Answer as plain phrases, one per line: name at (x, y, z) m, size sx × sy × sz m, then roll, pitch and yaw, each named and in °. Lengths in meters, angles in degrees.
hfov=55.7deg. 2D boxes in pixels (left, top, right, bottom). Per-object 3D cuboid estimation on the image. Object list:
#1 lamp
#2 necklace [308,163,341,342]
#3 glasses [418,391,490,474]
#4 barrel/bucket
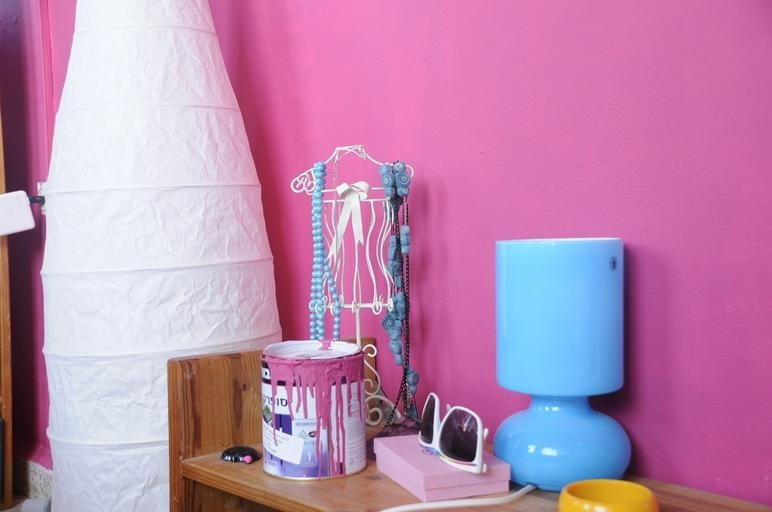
lamp at (0.375, 0.222, 1.537) m, size 0.293 × 0.517 × 0.169 m, roll 0°, pitch 6°, yaw 4°
necklace at (-0.162, -0.001, 1.889) m, size 0.076 × 0.475 × 0.305 m, roll -1°, pitch 5°, yaw -6°
glasses at (0.153, 0.375, 1.544) m, size 0.142 × 0.068 × 0.139 m, roll 20°, pitch -4°, yaw -42°
barrel/bucket at (-0.155, 0.352, 1.696) m, size 0.236 × 0.272 × 0.249 m, roll -1°, pitch -1°, yaw 0°
